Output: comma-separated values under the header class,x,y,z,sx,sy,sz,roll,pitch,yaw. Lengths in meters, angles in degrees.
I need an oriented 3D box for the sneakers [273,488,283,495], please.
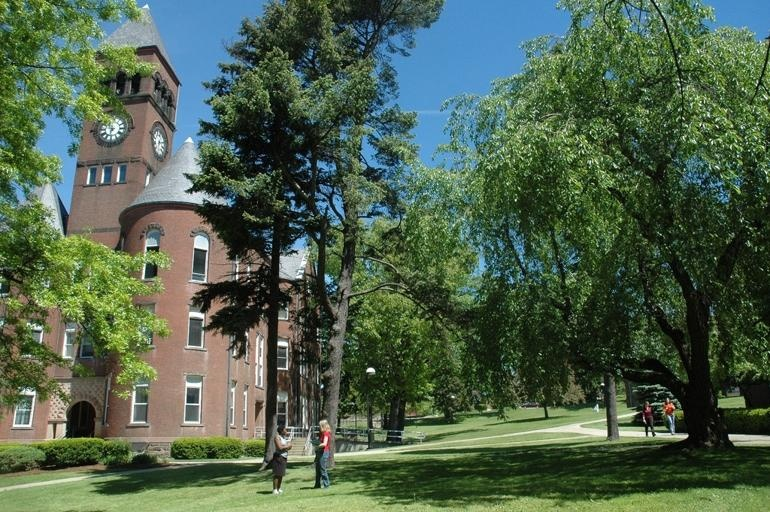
class,x,y,z,sx,sy,sz,roll,pitch,yaw
sneakers,-3.756,8.281,24.603,0.233,0.106,0.130,-4,-7,15
